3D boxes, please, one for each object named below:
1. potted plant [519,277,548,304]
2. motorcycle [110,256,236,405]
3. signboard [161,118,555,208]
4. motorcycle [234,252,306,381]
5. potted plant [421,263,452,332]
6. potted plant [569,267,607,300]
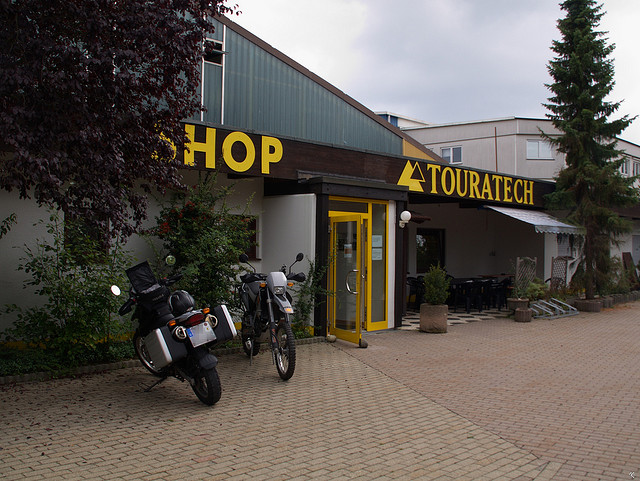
[{"bbox_3d":[6.423,1.525,14.968,0.682,0.634,0.804,9,1,-34],"label":"potted plant"},{"bbox_3d":[-2.202,1.311,7.108,1.902,1.926,1.004,3,3,41],"label":"motorcycle"},{"bbox_3d":[1.877,-1.884,13.317,11.836,1.264,0.368,-1,3,-37],"label":"signboard"},{"bbox_3d":[-0.824,1.248,8.418,0.833,1.963,1.937,-1,3,-26],"label":"motorcycle"},{"bbox_3d":[2.805,1.451,12.019,0.556,1.536,0.598,-3,-16,38],"label":"potted plant"},{"bbox_3d":[9.322,1.473,16.994,1.099,0.969,0.750,-1,3,-32],"label":"potted plant"}]
